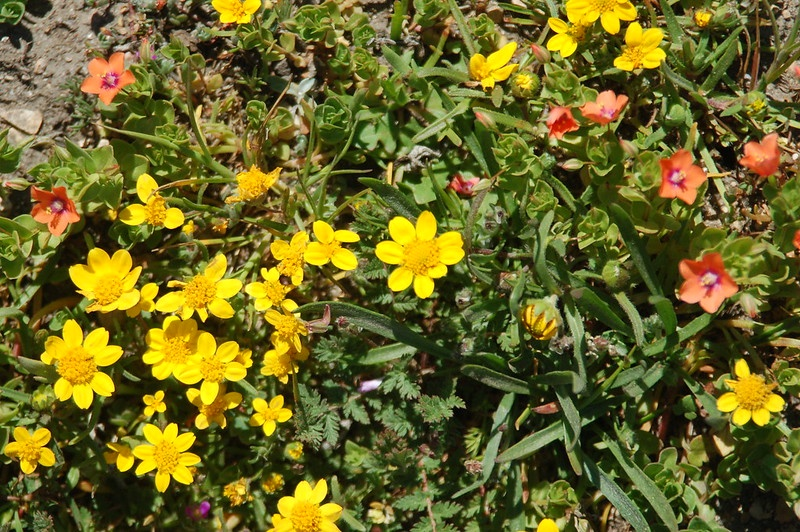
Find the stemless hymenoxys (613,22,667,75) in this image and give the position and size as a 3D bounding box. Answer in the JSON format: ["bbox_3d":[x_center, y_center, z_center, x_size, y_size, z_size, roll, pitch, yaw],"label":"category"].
[{"bbox_3d":[1.273,-1.154,3.788,0.275,0.254,0.196,-3,35,1],"label":"stemless hymenoxys"}]

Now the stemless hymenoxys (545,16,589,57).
[{"bbox_3d":[0.892,-1.220,3.843,0.216,0.219,0.064,-37,-1,-1],"label":"stemless hymenoxys"}]

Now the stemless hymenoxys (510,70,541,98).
[{"bbox_3d":[0.674,-0.957,3.845,0.159,0.158,0.153,20,42,29],"label":"stemless hymenoxys"}]

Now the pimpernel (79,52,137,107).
[{"bbox_3d":[-1.558,-0.993,3.893,0.282,0.297,0.105,14,-4,24],"label":"pimpernel"}]

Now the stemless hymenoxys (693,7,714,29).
[{"bbox_3d":[1.674,-1.360,3.938,0.085,0.073,0.097,13,41,33],"label":"stemless hymenoxys"}]
